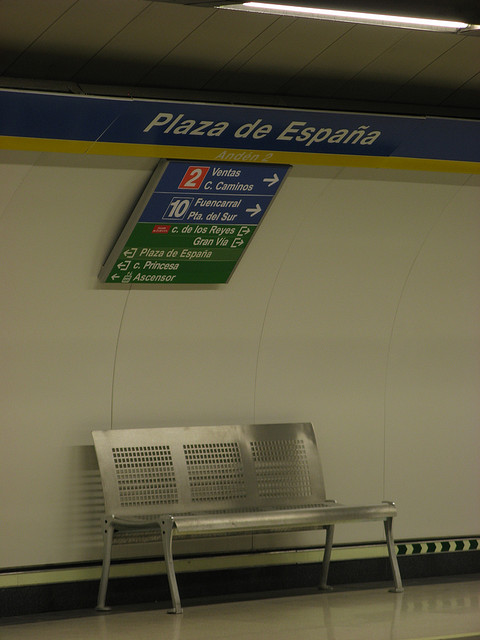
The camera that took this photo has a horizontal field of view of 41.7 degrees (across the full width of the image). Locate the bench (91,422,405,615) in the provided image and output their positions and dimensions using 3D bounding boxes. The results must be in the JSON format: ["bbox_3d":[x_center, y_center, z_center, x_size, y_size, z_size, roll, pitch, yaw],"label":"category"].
[{"bbox_3d":[0.111,1.430,4.822,2.342,1.123,0.919,9,-15,-43],"label":"bench"}]
